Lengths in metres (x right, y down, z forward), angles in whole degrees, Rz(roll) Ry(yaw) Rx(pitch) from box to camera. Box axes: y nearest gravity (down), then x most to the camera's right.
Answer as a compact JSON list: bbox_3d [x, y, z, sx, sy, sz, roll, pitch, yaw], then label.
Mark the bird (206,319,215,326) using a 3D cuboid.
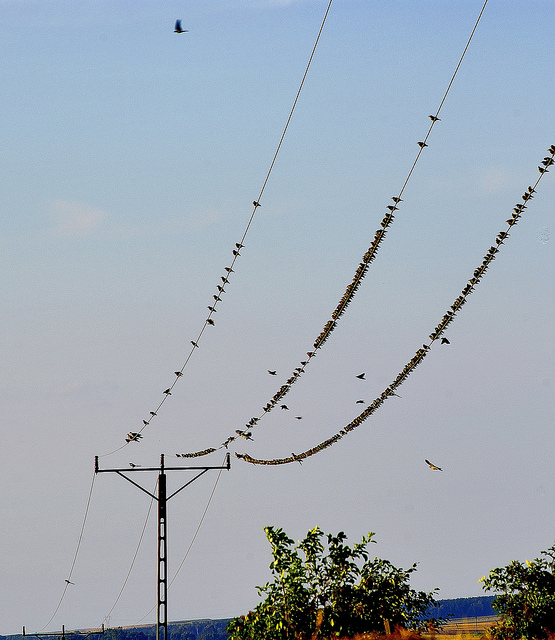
[{"bbox_3d":[-1.300,0.055,33.390,0.149,0.113,0.073,-3,-81,34],"label":"bird"}]
